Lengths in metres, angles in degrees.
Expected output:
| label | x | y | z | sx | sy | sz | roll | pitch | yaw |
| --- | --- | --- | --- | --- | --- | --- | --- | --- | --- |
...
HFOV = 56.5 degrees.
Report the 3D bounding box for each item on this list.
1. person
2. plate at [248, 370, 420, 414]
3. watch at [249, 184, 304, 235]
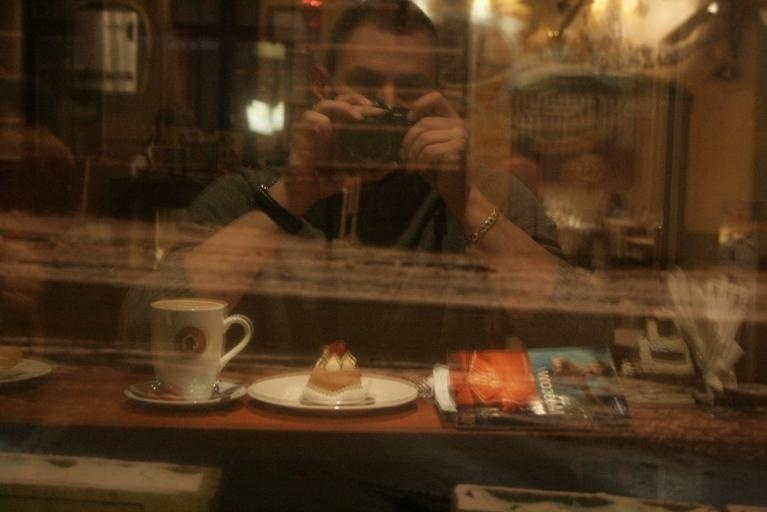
| label | x | y | z | sx | sy | sz | roll | pitch | yaw |
| --- | --- | --- | --- | --- | --- | --- | --- | --- | --- |
| person | 0.018 | -0.143 | 1.647 | 1.341 | 0.813 | 0.676 | 1 | -5 | -2 |
| plate | -0.072 | 0.202 | 1.066 | 0.254 | 0.033 | 0.121 | 1 | 4 | 0 |
| watch | -0.224 | -0.090 | 1.519 | 0.112 | 0.039 | 0.079 | 30 | 34 | -7 |
